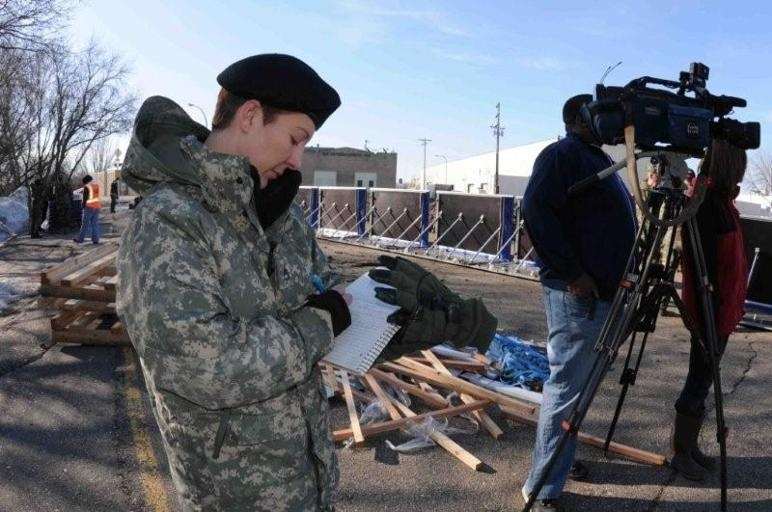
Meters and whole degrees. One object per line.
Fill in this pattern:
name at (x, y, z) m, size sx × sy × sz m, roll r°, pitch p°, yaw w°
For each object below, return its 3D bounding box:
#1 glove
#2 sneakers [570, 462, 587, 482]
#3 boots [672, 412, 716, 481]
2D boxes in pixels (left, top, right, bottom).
glove at (0.272, 0.313, 3.317) m, size 0.714 × 0.529 × 0.285 m, roll 10°, pitch -35°, yaw -7°
sneakers at (1.682, 1.883, 4.978) m, size 0.098 × 0.091 × 0.199 m, roll -3°, pitch -8°, yaw 1°
boots at (2.723, 1.645, 5.052) m, size 0.352 × 0.538 × 0.290 m, roll 13°, pitch 22°, yaw 43°
